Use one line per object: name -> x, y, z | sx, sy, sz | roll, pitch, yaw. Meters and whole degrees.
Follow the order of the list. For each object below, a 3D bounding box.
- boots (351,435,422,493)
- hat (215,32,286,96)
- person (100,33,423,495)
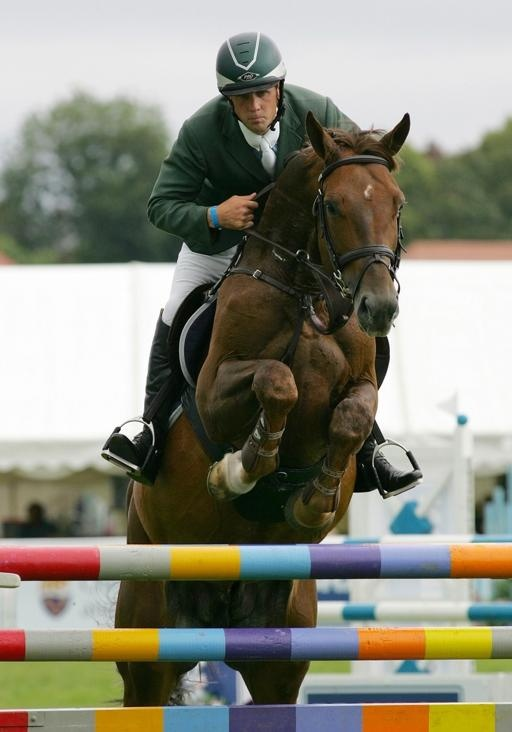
boots -> 0.443, 0.332, 4.021 | 0.292, 0.191, 0.099 | -12, -4, 42
hat -> -0.020, -1.001, 4.000 | 0.234, 0.241, 0.278 | -2, 5, -1
person -> 0.021, -0.325, 4.160 | 0.948, 1.474, 1.115 | 2, -3, 25
